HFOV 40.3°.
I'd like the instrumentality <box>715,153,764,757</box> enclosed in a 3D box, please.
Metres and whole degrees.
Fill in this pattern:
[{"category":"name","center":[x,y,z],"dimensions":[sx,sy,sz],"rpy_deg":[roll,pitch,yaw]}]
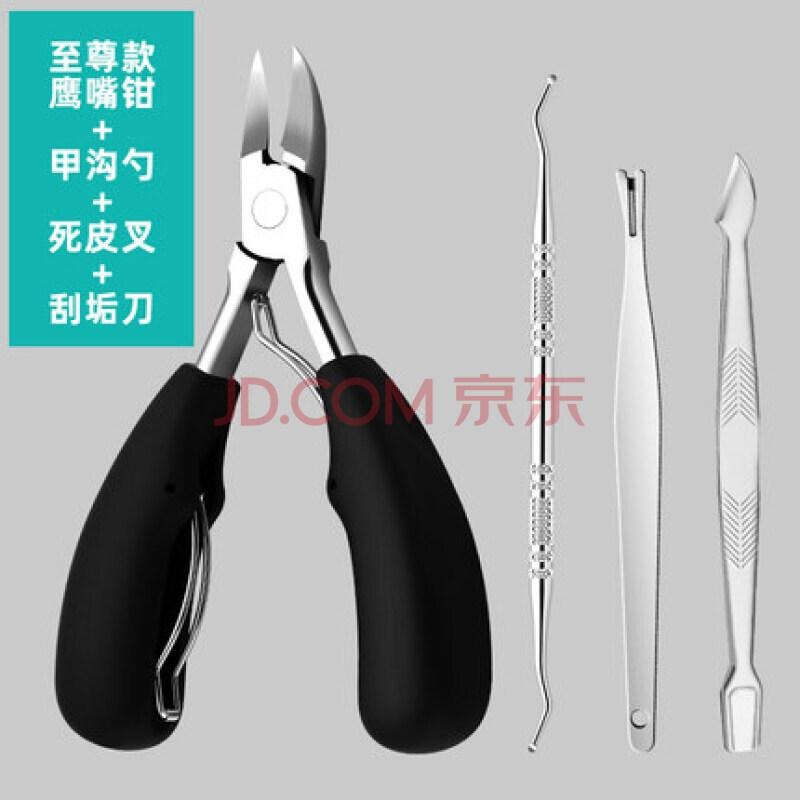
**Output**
[{"category":"instrumentality","center":[0.264,0.042,0.855],"dimensions":[0.032,0.010,0.504],"rpy_deg":[-3,89,3]}]
